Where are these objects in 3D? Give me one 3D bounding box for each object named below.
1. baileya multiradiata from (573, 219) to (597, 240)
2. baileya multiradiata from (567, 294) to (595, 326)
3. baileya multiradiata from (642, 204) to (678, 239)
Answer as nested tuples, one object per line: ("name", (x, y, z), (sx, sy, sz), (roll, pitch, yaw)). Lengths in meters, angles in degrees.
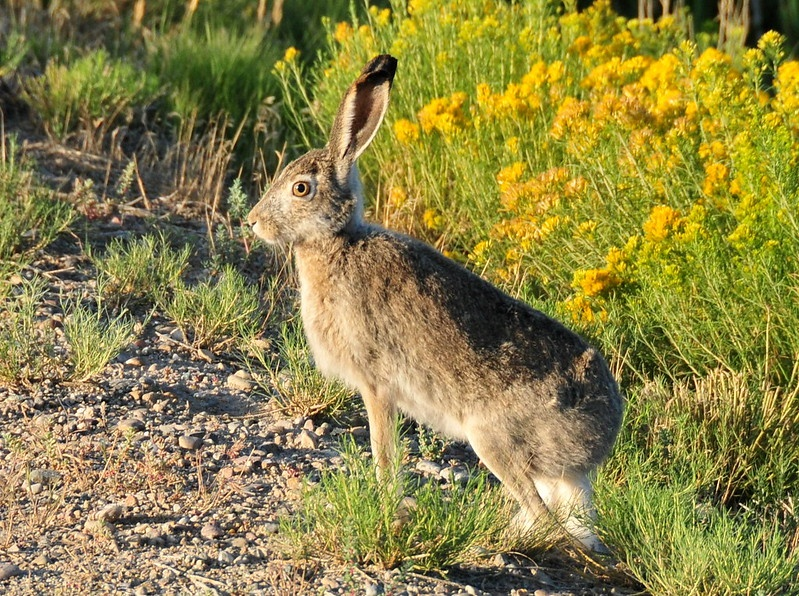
("baileya multiradiata", (1.292, -0.494, 7.846), (0.126, 0.138, 0.152), (9, 57, -24))
("baileya multiradiata", (1.247, 0.077, 7.709), (0.150, 0.199, 0.177), (-1, 7, 37))
("baileya multiradiata", (1.718, -0.491, 7.441), (0.222, 0.236, 0.136), (10, 15, 15))
